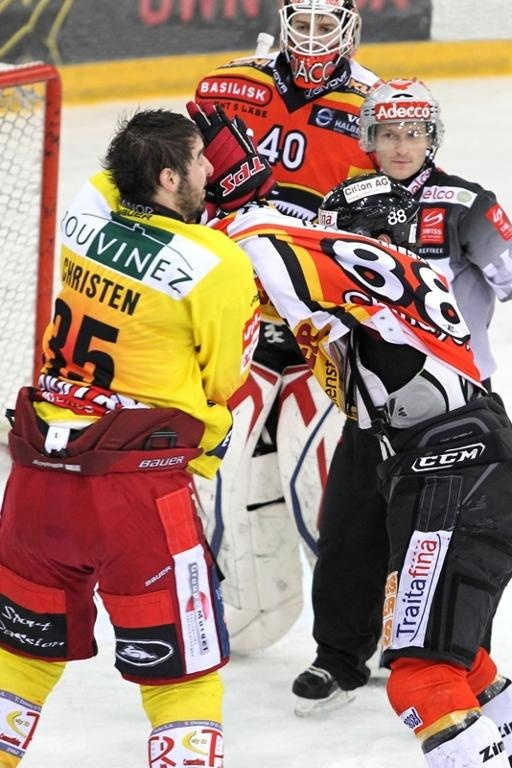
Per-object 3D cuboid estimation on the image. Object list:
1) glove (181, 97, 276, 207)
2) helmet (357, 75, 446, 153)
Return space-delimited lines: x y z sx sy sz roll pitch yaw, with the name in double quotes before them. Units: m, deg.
"glove" -0.043 -0.407 1.388 0.168 0.197 0.069 -24 -9 -43
"helmet" 0.353 -0.690 1.926 0.207 0.199 0.209 -1 14 2
